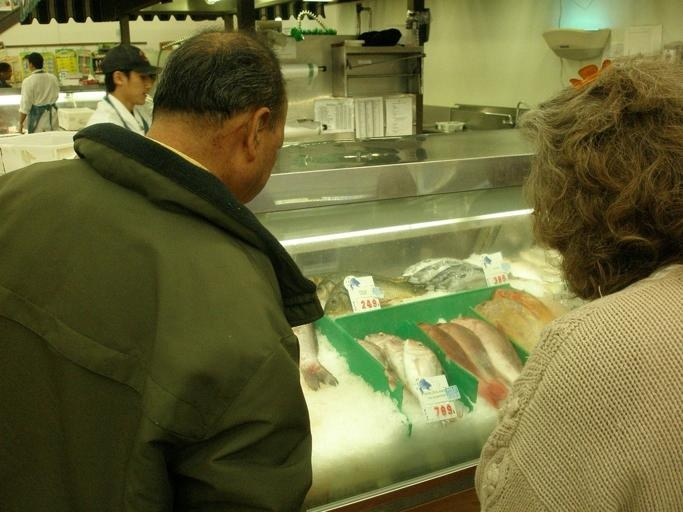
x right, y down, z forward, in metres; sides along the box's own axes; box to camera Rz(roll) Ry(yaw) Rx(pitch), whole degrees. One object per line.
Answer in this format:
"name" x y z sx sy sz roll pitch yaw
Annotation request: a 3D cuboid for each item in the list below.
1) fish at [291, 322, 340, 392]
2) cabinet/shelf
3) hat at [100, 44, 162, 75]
"fish" -0.093 0.331 1.880 0.133 0.082 0.311 -3 29 -16
"cabinet/shelf" 0.334 -1.655 5.731 0.894 0.812 0.323 -5 22 -17
"hat" -1.521 -1.426 4.052 0.327 0.184 0.222 -11 29 -20
